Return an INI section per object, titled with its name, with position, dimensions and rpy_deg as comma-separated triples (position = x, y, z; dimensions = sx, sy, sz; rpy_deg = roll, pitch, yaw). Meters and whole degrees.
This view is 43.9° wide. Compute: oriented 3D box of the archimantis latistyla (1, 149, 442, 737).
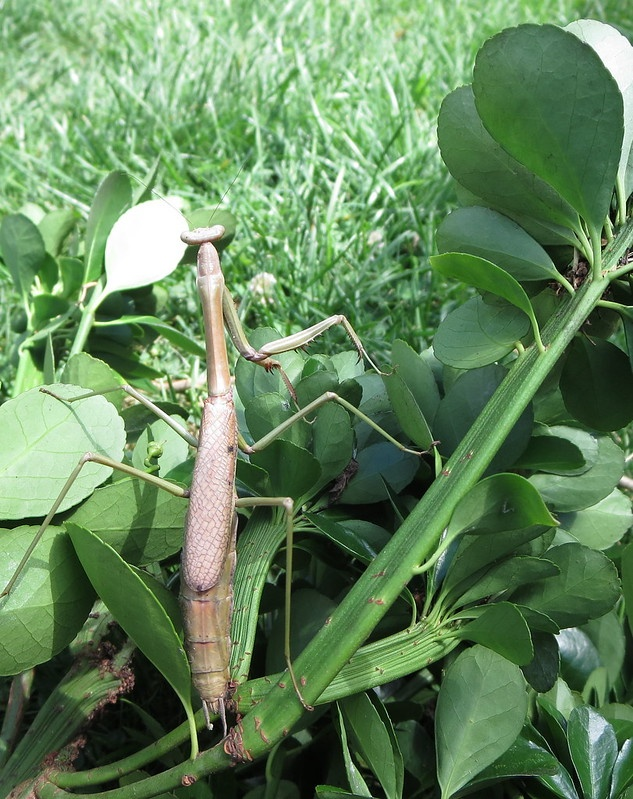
[archimantis latistyla]
position = -0.059, 0.042, 0.840
dimensions = 0.498, 0.253, 0.528
rpy_deg = -7, 40, -1
